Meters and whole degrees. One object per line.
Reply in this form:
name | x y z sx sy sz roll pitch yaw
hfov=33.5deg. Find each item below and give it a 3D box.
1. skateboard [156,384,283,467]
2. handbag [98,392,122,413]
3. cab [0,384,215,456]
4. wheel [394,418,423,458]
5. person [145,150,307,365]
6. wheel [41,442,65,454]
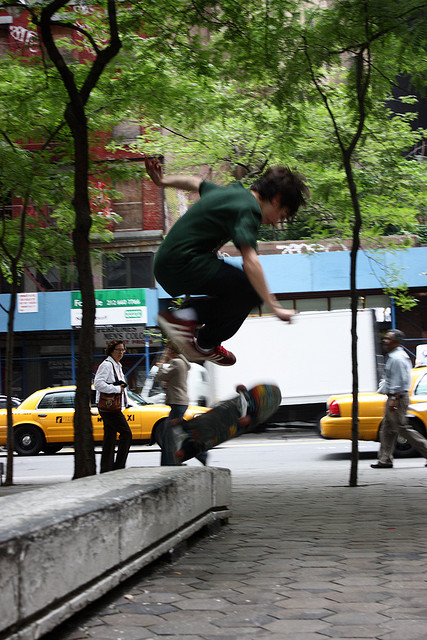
skateboard | 0.084 0.649 4.391 0.742 0.378 0.451 -3 1 -23
handbag | -1.234 0.966 8.353 0.270 0.288 0.161 1 -23 4
cab | -2.011 2.142 15.050 5.784 1.467 2.006 -4 -6 -2
wheel | 3.134 1.896 11.414 0.296 0.659 0.569 -4 1 -30
person | 0.107 -0.273 3.708 0.738 0.863 1.066 -3 1 -27
wheel | -3.605 2.848 15.858 0.458 0.118 0.443 0 -6 0
